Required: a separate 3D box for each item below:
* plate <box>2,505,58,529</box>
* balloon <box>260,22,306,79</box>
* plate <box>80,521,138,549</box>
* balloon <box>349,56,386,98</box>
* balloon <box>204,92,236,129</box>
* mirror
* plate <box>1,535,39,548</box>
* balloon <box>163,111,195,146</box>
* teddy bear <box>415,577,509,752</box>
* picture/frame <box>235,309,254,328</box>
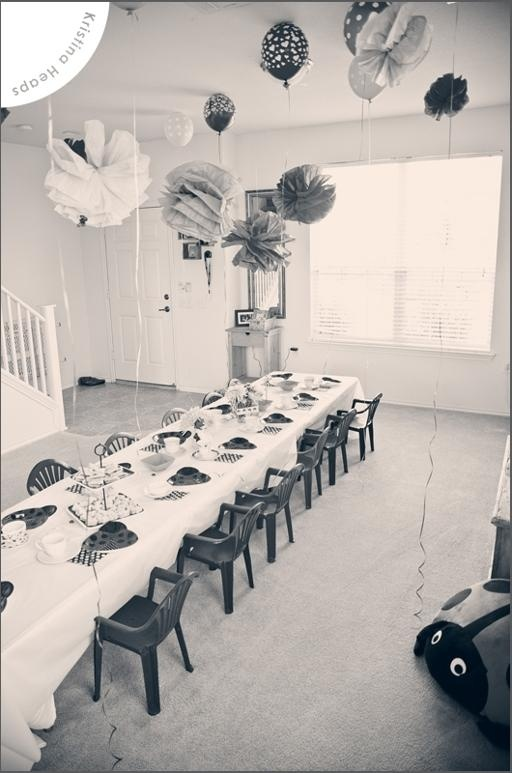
[{"bbox_3d":[-1.098,0.639,2.669,0.105,0.020,0.145,16,22,36],"label":"plate"},{"bbox_3d":[0.186,-2.210,3.598,0.262,0.363,0.197,4,17,4],"label":"balloon"},{"bbox_3d":[-0.648,0.687,2.463,0.216,0.027,0.249,3,13,13],"label":"plate"},{"bbox_3d":[0.722,-2.032,3.593,0.196,0.230,0.408,2,13,8],"label":"balloon"},{"bbox_3d":[-0.331,-2.419,4.745,0.217,0.319,0.304,-8,15,-32],"label":"balloon"},{"bbox_3d":[0.143,-1.793,7.430,0.436,1.715,0.603,-5,13,-21],"label":"mirror"},{"bbox_3d":[-1.056,0.689,2.417,0.132,0.028,0.091,-8,15,-31],"label":"plate"},{"bbox_3d":[-0.676,-2.257,4.756,0.212,0.242,0.196,-3,13,-14],"label":"balloon"},{"bbox_3d":[0.959,1.153,2.332,0.440,0.320,0.477,-13,24,-36],"label":"teddy bear"},{"bbox_3d":[-0.153,-0.923,7.375,0.225,0.220,0.018,-4,11,-16],"label":"picture/frame"}]
